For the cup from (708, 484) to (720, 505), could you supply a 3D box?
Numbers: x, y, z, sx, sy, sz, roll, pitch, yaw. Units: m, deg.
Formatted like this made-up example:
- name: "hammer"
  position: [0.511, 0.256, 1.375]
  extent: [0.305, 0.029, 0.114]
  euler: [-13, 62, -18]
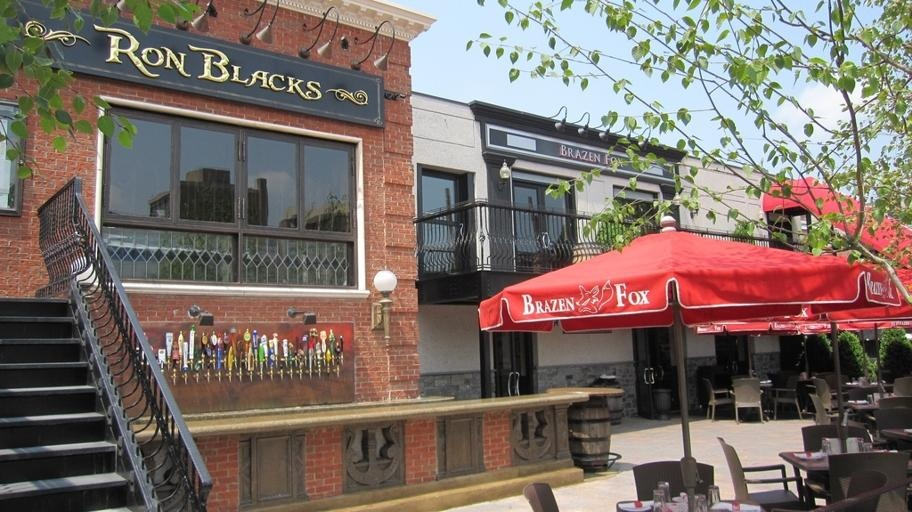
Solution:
- name: "cup"
  position: [3.282, 3.031, 9.473]
  extent: [0.146, 0.223, 0.263]
  euler: [-5, -8, 10]

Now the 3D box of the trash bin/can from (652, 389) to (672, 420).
- name: "trash bin/can"
  position: [6.105, 4.371, 22.055]
  extent: [0.746, 0.852, 0.735]
  euler: [-6, -9, 26]

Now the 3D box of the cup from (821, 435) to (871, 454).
- name: "cup"
  position: [5.767, 2.808, 10.999]
  extent: [0.514, 0.183, 0.374]
  euler: [-3, -5, 17]
